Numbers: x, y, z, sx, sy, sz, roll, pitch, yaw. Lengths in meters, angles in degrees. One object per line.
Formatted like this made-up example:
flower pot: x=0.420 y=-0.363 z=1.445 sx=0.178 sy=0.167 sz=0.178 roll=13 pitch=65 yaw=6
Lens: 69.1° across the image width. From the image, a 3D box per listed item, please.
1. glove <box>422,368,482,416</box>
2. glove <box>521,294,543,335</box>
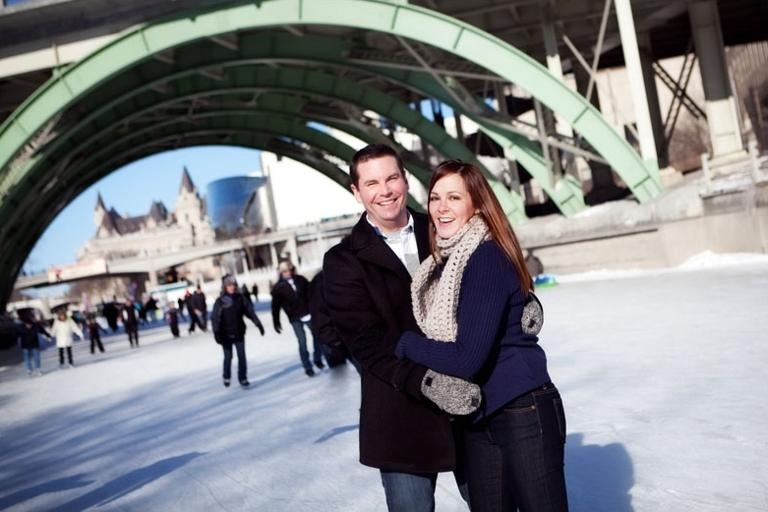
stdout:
glove: x=0.430 y=0.865 z=3.546 sx=0.346 sy=0.236 sz=0.131 roll=24 pitch=3 yaw=11
glove: x=0.981 y=0.363 z=3.676 sx=0.090 sy=0.250 sz=0.189 roll=7 pitch=-28 yaw=37
